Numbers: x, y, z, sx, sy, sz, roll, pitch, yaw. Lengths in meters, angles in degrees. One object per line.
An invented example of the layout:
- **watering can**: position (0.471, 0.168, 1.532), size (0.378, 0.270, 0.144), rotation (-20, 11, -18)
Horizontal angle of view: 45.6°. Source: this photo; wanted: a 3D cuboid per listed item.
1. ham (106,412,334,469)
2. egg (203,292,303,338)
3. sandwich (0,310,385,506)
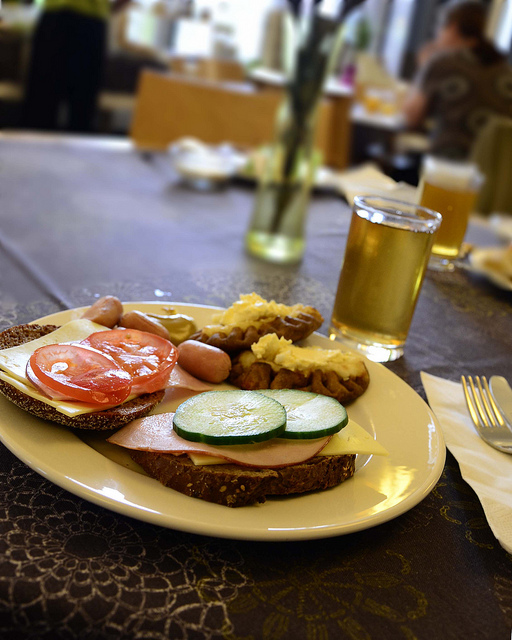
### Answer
- **ham**: position (-0.038, 0.118, 0.576), size (0.129, 0.015, 0.076), rotation (1, 11, -2)
- **egg**: position (-0.013, -0.015, 0.807), size (0.083, 0.027, 0.085), rotation (-7, 5, 16)
- **sandwich**: position (-0.095, 0.044, 0.604), size (0.344, 0.040, 0.188), rotation (16, 16, 34)
